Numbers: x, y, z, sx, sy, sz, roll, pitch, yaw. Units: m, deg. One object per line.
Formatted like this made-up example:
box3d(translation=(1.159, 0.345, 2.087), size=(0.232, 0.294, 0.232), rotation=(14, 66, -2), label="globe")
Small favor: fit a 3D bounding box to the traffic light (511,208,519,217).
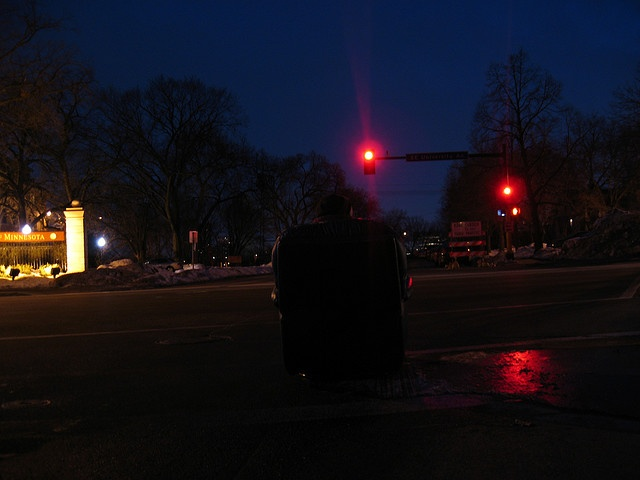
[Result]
box3d(translation=(11.265, -1.601, 32.257), size=(0.097, 0.480, 0.442), rotation=(6, 4, -7), label="traffic light")
